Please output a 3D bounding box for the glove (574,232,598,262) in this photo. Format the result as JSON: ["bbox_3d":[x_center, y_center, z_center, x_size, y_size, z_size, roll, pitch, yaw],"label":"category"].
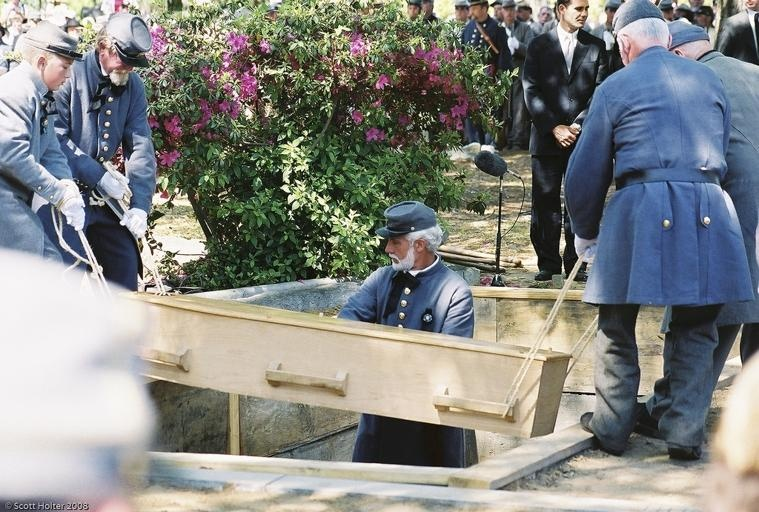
[{"bbox_3d":[1.230,-0.045,7.926,0.136,0.132,0.059,7,16,34],"label":"glove"}]

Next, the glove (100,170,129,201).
[{"bbox_3d":[-1.734,-0.458,8.802,0.077,0.144,0.200,-41,-23,13],"label":"glove"}]

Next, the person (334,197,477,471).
[{"bbox_3d":[0.172,0.506,8.324,0.801,1.676,0.461,-2,4,-3],"label":"person"}]

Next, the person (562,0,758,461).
[{"bbox_3d":[1.585,-0.167,7.696,1.025,2.629,0.481,-1,4,13],"label":"person"}]

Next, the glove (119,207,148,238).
[{"bbox_3d":[-1.608,-0.225,8.909,0.148,0.197,0.071,-43,-23,6],"label":"glove"}]

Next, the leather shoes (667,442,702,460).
[{"bbox_3d":[1.728,1.102,7.577,0.140,0.051,0.108,0,1,12],"label":"leather shoes"}]

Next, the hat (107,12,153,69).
[{"bbox_3d":[-1.587,-1.398,8.661,0.285,0.342,0.148,-29,14,-32],"label":"hat"}]

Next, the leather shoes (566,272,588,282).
[{"bbox_3d":[1.594,0.166,10.671,0.133,0.068,0.210,1,0,0],"label":"leather shoes"}]

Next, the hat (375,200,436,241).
[{"bbox_3d":[0.177,-0.237,8.344,0.320,0.129,0.226,-7,22,-12],"label":"hat"}]

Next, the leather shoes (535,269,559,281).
[{"bbox_3d":[1.353,0.155,10.955,0.219,0.082,0.076,-2,16,-1],"label":"leather shoes"}]

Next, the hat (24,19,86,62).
[{"bbox_3d":[-2.012,-1.333,8.358,0.299,0.143,0.213,13,12,-23],"label":"hat"}]

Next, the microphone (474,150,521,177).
[{"bbox_3d":[0.971,-0.729,10.950,0.368,0.177,0.153,31,2,-8],"label":"microphone"}]

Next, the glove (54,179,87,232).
[{"bbox_3d":[-1.930,-0.327,8.434,0.137,0.287,0.224,-28,-28,-5],"label":"glove"}]
